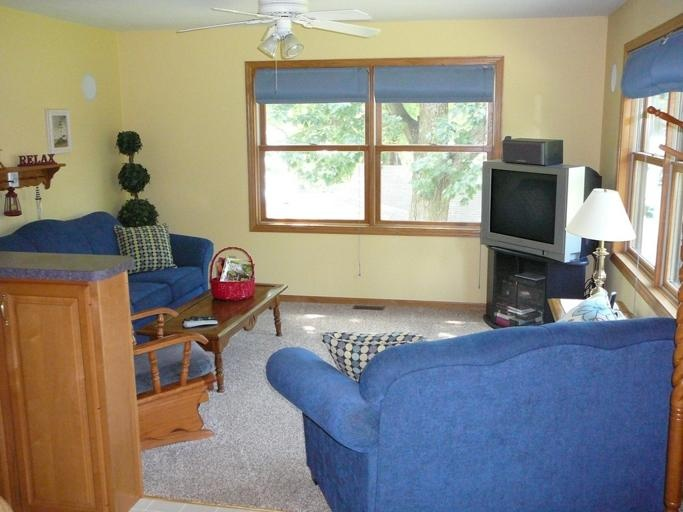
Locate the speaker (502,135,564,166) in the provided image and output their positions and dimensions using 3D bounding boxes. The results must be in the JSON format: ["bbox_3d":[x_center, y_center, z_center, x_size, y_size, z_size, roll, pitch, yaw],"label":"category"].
[{"bbox_3d":[1.745,-0.977,5.007,0.546,0.274,0.322,3,10,23],"label":"speaker"}]

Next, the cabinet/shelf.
[{"bbox_3d":[1.894,0.323,5.419,0.627,0.811,0.931,-15,20,-41],"label":"cabinet/shelf"}]

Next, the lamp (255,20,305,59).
[{"bbox_3d":[-0.337,-1.304,3.166,0.250,0.291,0.135,3,-13,9],"label":"lamp"}]

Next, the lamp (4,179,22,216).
[{"bbox_3d":[-2.939,-0.501,4.818,0.127,0.318,0.245,-7,12,-32],"label":"lamp"}]

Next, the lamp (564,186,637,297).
[{"bbox_3d":[1.780,-0.075,3.655,0.375,0.753,0.560,8,13,41],"label":"lamp"}]

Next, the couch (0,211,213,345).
[{"bbox_3d":[-2.176,-0.020,5.289,1.213,1.065,2.299,3,9,12],"label":"couch"}]

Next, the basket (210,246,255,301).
[{"bbox_3d":[-0.994,0.157,4.937,0.431,0.434,0.413,0,9,-6],"label":"basket"}]
